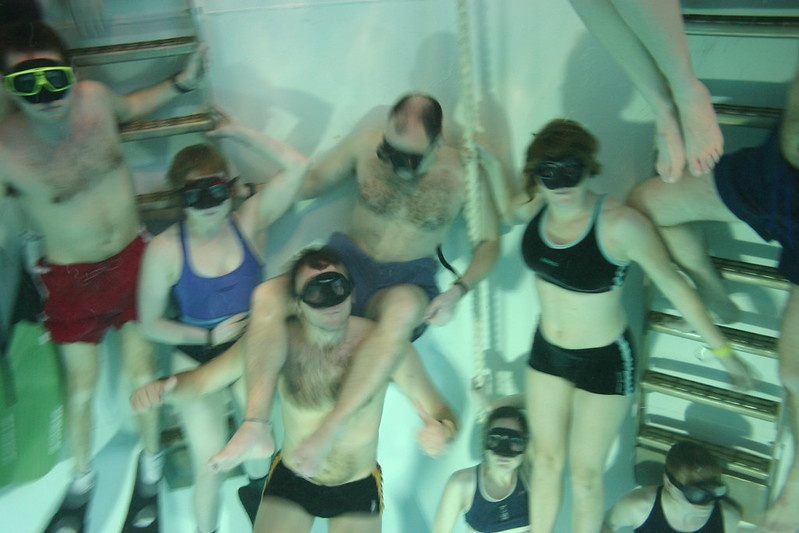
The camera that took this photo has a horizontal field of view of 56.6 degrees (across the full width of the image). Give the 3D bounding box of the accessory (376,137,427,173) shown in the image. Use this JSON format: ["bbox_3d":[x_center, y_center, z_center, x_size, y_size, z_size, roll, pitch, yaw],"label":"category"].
[{"bbox_3d":[0.008,-0.431,2.904,0.176,0.137,0.041,-5,12,23],"label":"accessory"}]

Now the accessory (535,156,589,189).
[{"bbox_3d":[0.600,-0.345,2.753,0.173,0.113,0.035,-8,11,7],"label":"accessory"}]

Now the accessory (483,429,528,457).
[{"bbox_3d":[0.420,0.673,2.937,0.123,0.066,0.122,7,3,7],"label":"accessory"}]

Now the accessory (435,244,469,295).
[{"bbox_3d":[0.209,0.013,3.000,0.046,0.170,0.177,-45,-23,5],"label":"accessory"}]

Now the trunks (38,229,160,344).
[{"bbox_3d":[-1.217,0.090,2.945,0.275,0.331,0.494,20,27,31],"label":"trunks"}]

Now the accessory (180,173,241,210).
[{"bbox_3d":[-0.678,-0.290,2.659,0.199,0.073,0.202,-14,0,-21],"label":"accessory"}]

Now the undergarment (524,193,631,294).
[{"bbox_3d":[0.654,-0.090,2.898,0.410,0.389,0.230,7,5,40],"label":"undergarment"}]

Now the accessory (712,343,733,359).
[{"bbox_3d":[1.222,0.322,2.815,0.060,0.044,0.059,-13,25,18],"label":"accessory"}]

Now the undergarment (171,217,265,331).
[{"bbox_3d":[-0.699,0.053,2.930,0.321,0.398,0.227,-12,-7,-21],"label":"undergarment"}]

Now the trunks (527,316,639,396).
[{"bbox_3d":[0.731,0.267,2.866,0.459,0.283,0.244,8,30,16],"label":"trunks"}]

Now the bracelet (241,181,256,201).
[{"bbox_3d":[-0.583,-0.294,2.900,0.066,0.066,0.055,-13,1,15],"label":"bracelet"}]

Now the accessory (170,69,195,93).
[{"bbox_3d":[-0.814,-0.695,2.807,0.072,0.071,0.053,29,-14,-20],"label":"accessory"}]
